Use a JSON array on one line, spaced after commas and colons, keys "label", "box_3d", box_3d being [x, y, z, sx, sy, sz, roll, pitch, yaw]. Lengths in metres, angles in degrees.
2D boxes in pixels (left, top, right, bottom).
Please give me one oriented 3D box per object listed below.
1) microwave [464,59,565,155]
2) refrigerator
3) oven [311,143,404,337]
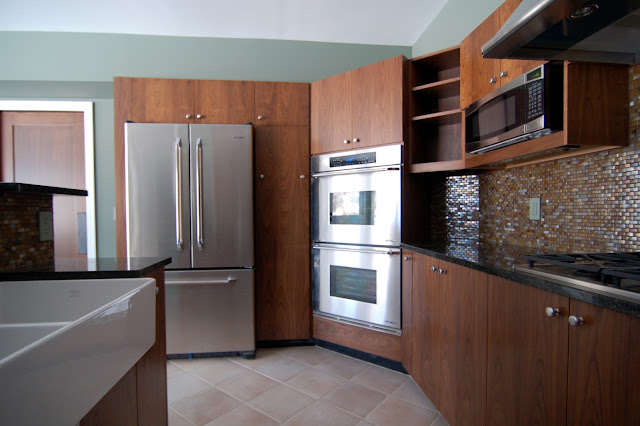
[{"label": "microwave", "box_3d": [1.278, -0.633, 2.977, 0.243, 0.393, 0.808, 0, -3, -16]}, {"label": "refrigerator", "box_3d": [-1.145, 0.258, 4.180, 1.087, 2.020, 0.761, -1, 1, -4]}, {"label": "oven", "box_3d": [0.324, 0.176, 3.884, 1.037, 1.538, 0.374, 9, 16, 36]}]
